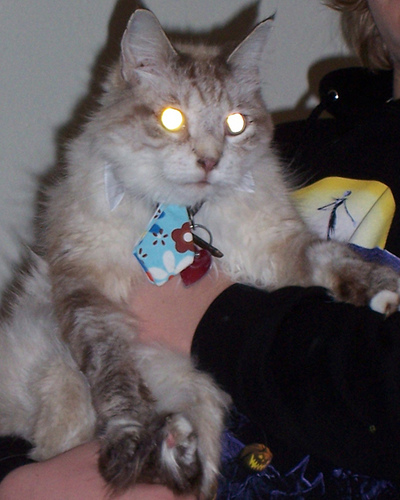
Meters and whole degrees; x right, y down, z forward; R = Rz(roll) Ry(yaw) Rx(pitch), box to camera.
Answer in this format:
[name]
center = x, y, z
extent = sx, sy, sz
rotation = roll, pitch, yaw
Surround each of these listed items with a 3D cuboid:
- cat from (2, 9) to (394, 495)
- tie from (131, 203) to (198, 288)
[cat]
center = -0.068, 0.028, 1.443
extent = 0.870, 0.418, 0.847
rotation = 1, 92, 0
[tie]
center = -0.053, -0.004, 1.223
extent = 0.042, 0.149, 0.156
rotation = 27, 36, -39
